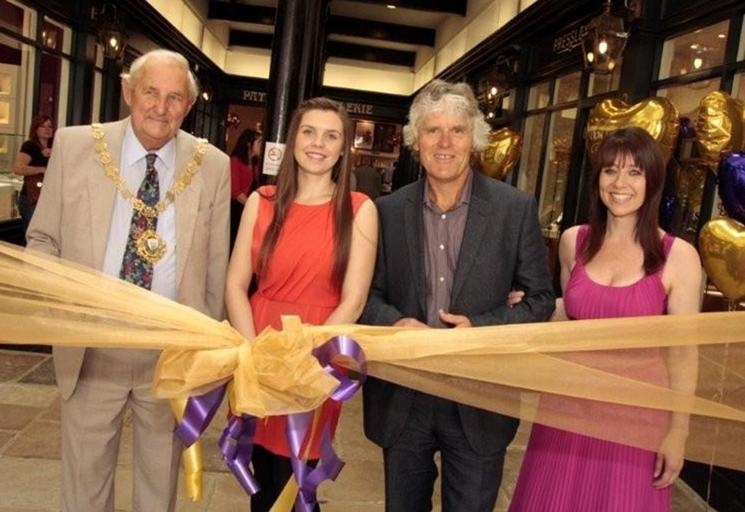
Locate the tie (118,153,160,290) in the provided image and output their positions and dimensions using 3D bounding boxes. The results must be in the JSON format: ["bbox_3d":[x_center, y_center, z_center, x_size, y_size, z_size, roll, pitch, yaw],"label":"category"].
[{"bbox_3d":[-0.915,-0.143,2.428,0.140,0.769,0.082,20,38,-10],"label":"tie"}]

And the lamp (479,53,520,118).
[{"bbox_3d":[2.212,-2.960,9.505,0.427,1.196,0.464,9,14,11],"label":"lamp"}]
